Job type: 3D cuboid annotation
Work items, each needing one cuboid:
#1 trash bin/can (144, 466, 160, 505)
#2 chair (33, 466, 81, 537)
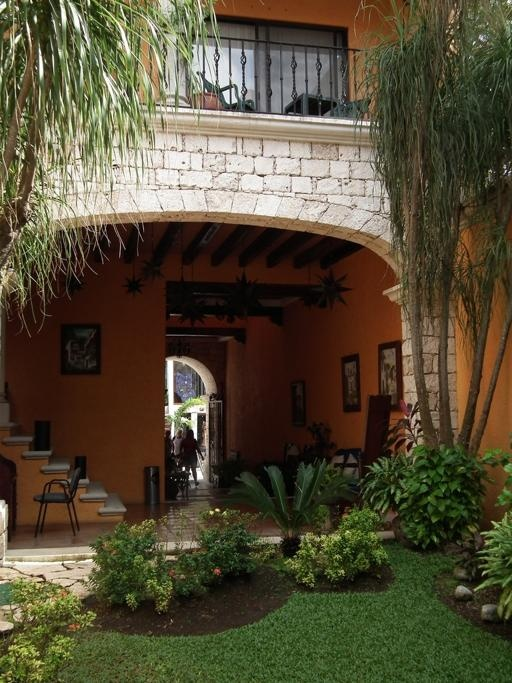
[{"bbox_3d":[-1.680,2.325,8.777,0.242,0.605,0.227,1,0,-14],"label":"trash bin/can"},{"bbox_3d":[-2.118,1.717,5.818,0.394,0.753,0.395,9,-9,-29],"label":"chair"}]
